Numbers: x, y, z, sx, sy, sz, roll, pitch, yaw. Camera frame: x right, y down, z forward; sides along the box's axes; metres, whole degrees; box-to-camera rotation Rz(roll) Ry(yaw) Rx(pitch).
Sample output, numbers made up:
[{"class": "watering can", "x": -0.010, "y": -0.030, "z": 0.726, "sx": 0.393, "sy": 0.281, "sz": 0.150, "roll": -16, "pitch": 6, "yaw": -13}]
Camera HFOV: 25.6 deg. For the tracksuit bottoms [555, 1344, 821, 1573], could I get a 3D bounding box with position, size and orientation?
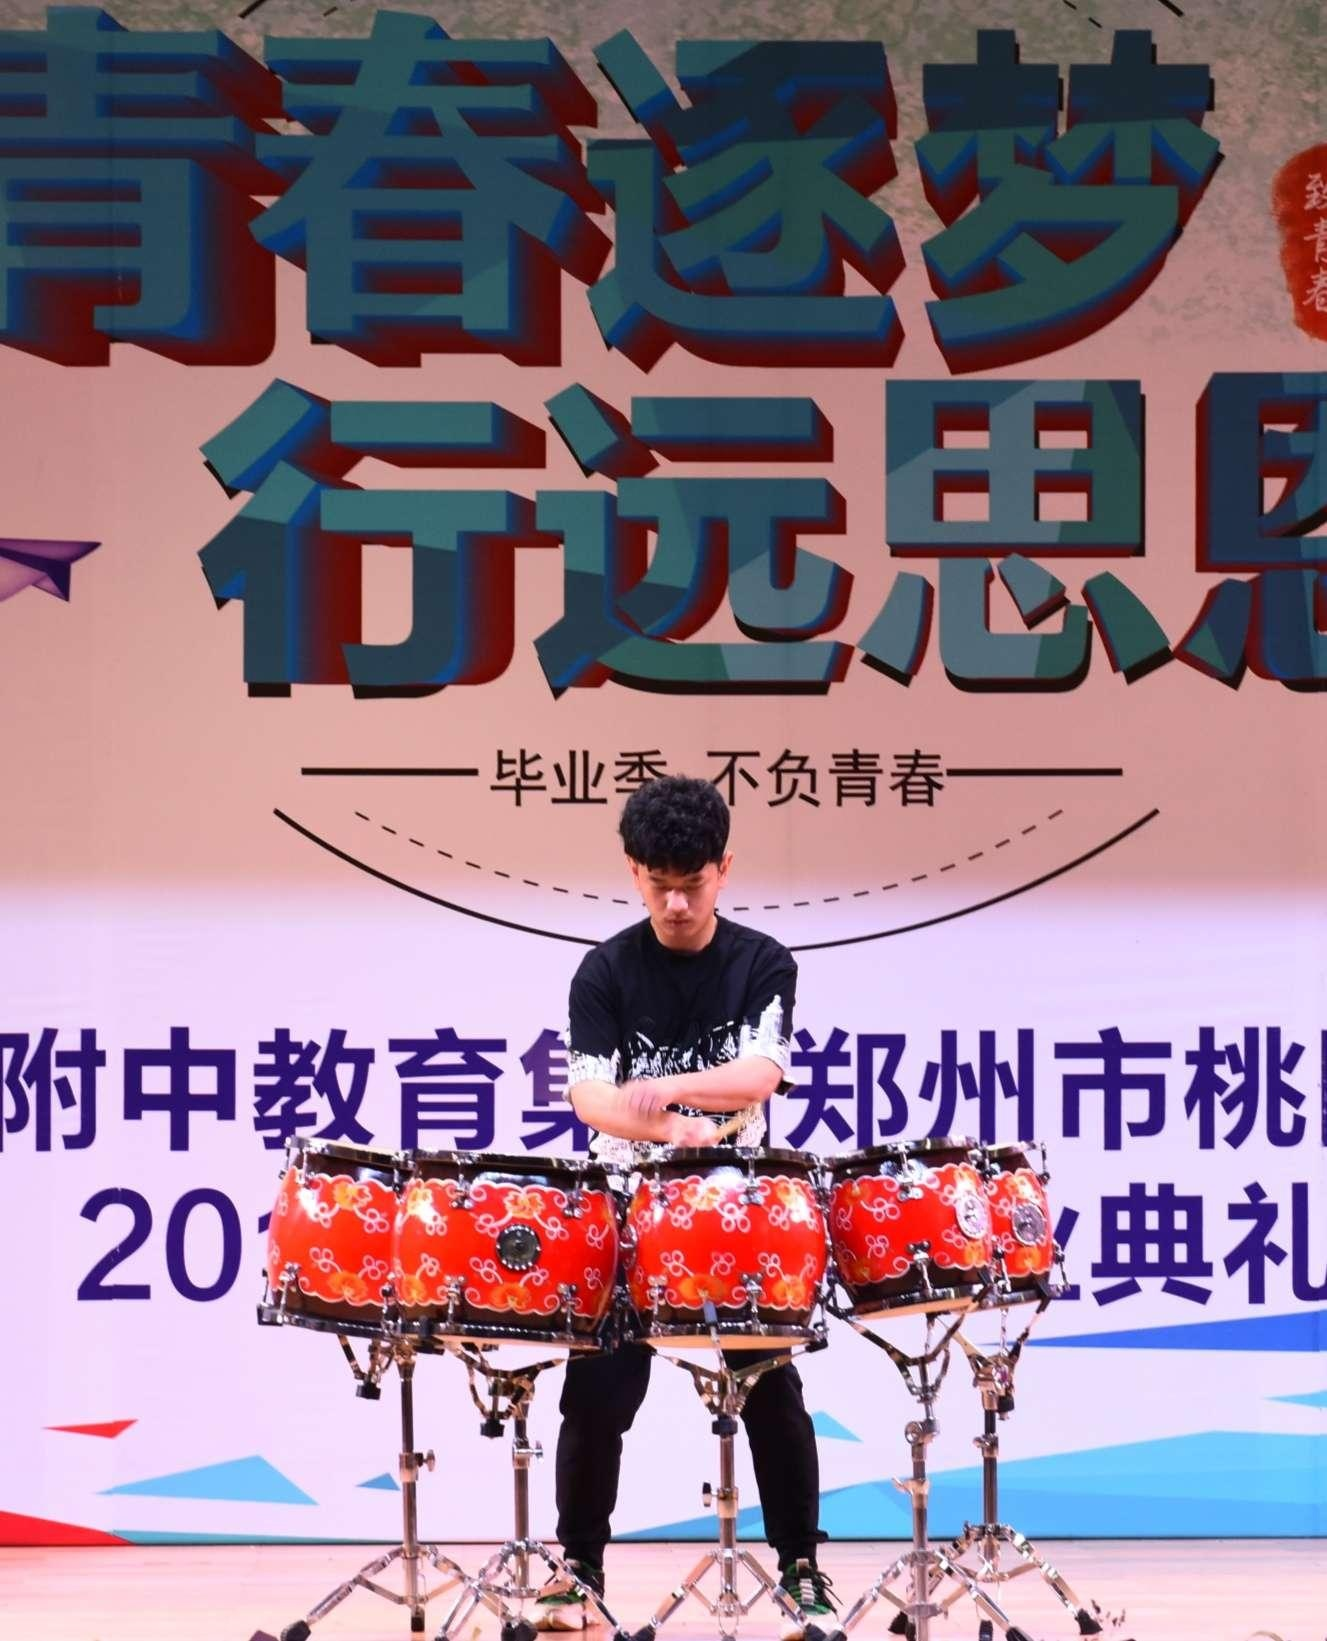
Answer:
[{"class": "tracksuit bottoms", "x": 0.055, "y": 1.206, "z": 5.492, "sx": 0.693, "sy": 0.514, "sz": 0.196, "roll": 1, "pitch": -16, "yaw": -1}]
